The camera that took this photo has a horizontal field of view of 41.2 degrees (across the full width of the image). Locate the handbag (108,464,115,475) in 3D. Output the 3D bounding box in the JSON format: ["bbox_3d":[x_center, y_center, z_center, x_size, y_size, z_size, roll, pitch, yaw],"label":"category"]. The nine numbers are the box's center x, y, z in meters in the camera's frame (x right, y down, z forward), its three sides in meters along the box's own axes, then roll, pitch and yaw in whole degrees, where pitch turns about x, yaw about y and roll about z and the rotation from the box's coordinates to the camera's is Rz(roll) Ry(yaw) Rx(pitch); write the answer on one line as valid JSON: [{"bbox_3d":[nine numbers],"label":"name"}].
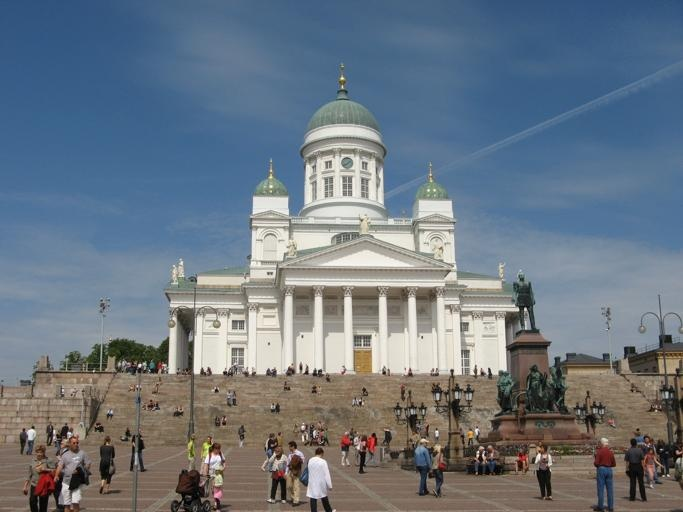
[{"bbox_3d":[-9.284,8.615,36.623,0.201,0.424,0.423,-8,-10,-9],"label":"handbag"}]

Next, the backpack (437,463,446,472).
[{"bbox_3d":[4.112,8.696,37.423,0.325,0.300,0.673,-8,-16,23],"label":"backpack"}]
